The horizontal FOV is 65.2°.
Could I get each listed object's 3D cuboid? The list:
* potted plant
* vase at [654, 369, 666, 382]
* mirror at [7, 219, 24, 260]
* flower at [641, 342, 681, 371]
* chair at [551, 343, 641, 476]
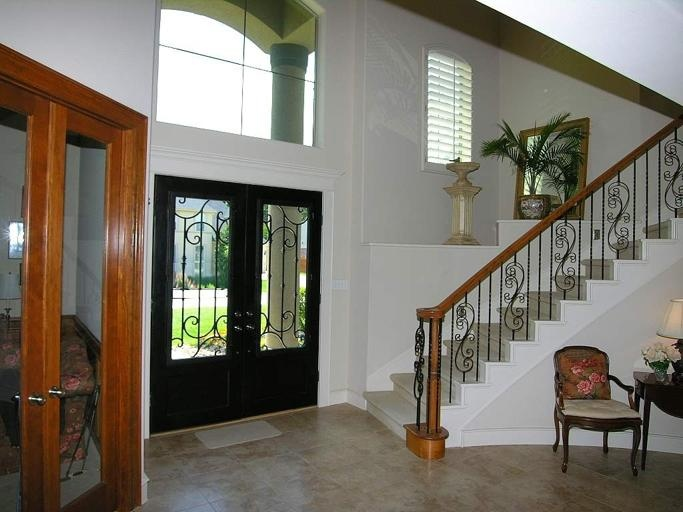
[{"bbox_3d":[2.491,-1.148,6.860,1.226,1.407,0.899,0,1,-19],"label":"potted plant"},{"bbox_3d":[2.896,1.078,4.824,0.095,0.086,0.099,-2,2,-18],"label":"vase"},{"bbox_3d":[-1.945,-0.098,3.183,0.042,0.182,0.161,5,-6,-11],"label":"mirror"},{"bbox_3d":[2.920,0.901,4.884,0.254,0.244,0.269,-1,-2,11],"label":"flower"},{"bbox_3d":[2.247,1.346,4.813,0.635,1.009,0.730,1,-4,5],"label":"chair"}]
